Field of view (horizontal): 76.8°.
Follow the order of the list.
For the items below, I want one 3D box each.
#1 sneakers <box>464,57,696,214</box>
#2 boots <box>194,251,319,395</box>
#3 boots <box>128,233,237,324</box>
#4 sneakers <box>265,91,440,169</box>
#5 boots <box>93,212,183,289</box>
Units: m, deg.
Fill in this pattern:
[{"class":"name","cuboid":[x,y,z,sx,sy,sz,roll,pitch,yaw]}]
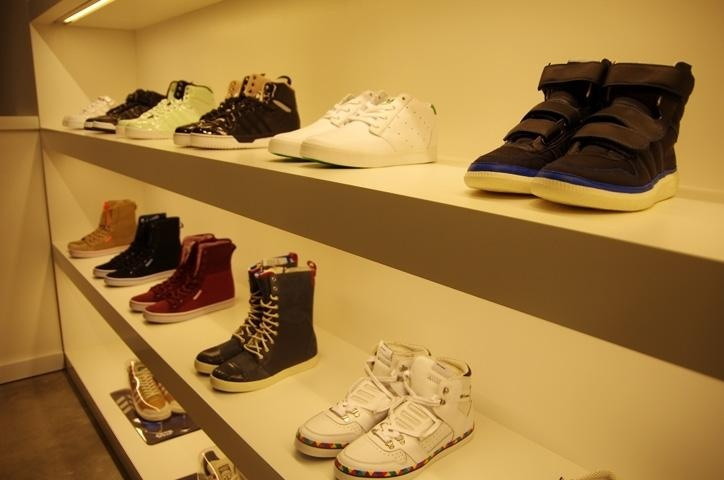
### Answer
[{"class":"sneakers","cuboid":[0.371,-0.145,0.778,0.353,0.196,0.258,-9,14,-33]},{"class":"boots","cuboid":[-0.215,0.195,1.218,0.404,0.315,0.184,-7,15,-40]},{"class":"boots","cuboid":[-0.535,0.107,1.522,0.409,0.293,0.179,-5,13,-37]},{"class":"sneakers","cuboid":[0.008,-0.232,1.066,0.309,0.140,0.213,-1,8,-24]},{"class":"boots","cuboid":[-0.787,0.025,1.713,0.416,0.298,0.168,-7,15,-38]}]
